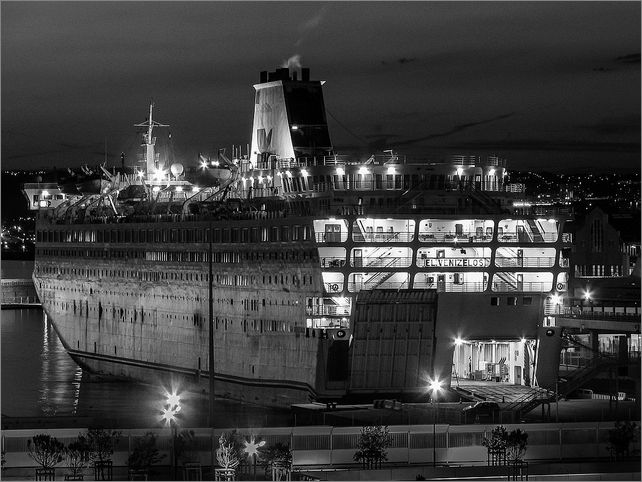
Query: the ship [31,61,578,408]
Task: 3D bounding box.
[{"bbox_3d":[-4.154,0.828,79.563,12.897,15.640,38.991,0,0,-26],"label":"ship"}]
